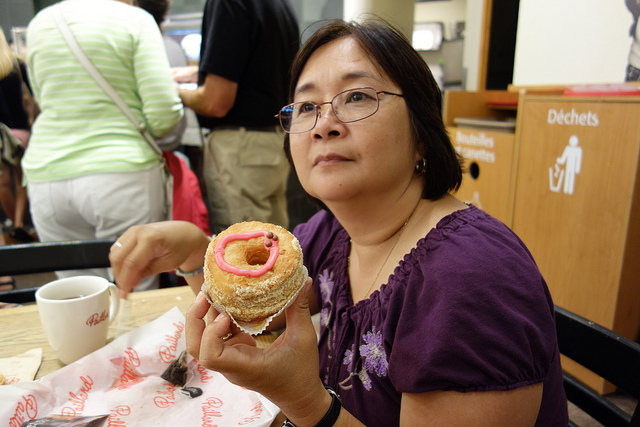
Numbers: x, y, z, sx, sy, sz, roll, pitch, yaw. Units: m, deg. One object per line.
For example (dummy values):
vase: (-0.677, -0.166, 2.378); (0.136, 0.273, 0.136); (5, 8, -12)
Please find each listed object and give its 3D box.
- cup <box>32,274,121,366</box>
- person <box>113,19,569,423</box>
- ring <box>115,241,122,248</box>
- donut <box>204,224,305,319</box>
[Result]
cup: (-1.010, 0.450, 2.089); (0.322, 0.291, 0.264); (-1, 15, -15)
person: (0.188, 0.039, 1.993); (1.547, 1.668, 0.867); (-3, 9, -4)
ring: (-0.891, 0.137, 2.169); (0.051, 0.021, 0.017); (5, 12, 42)
donut: (-0.244, 0.220, 1.929); (0.353, 0.235, 0.376); (-6, 48, -6)
